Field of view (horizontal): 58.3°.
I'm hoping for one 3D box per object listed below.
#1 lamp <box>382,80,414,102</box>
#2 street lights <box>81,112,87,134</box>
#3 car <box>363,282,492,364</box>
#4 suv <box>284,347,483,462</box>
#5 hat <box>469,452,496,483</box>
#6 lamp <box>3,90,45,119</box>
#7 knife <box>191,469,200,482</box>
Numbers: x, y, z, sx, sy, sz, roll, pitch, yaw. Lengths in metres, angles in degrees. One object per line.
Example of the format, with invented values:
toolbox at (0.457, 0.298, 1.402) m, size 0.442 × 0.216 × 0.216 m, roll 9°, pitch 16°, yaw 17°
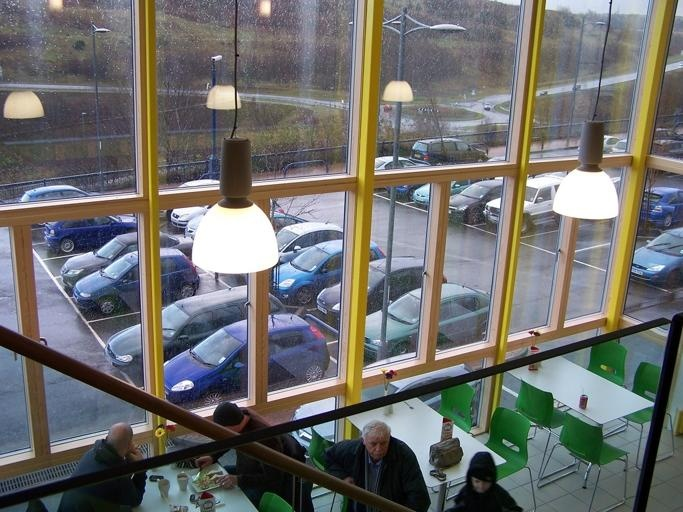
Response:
lamp at (0.656, -1.887, 6.941) m, size 0.259 × 0.145 × 0.263 m, roll 20°, pitch 32°, yaw 34°
street lights at (-2.400, -1.248, 5.723) m, size 0.063 × 0.170 × 0.014 m, roll -14°, pitch 17°, yaw -34°
car at (1.068, 0.798, 8.013) m, size 1.822 × 0.621 × 0.767 m, roll -11°, pitch 15°, yaw -27°
suv at (0.514, 1.228, 7.061) m, size 2.126 × 0.957 × 1.165 m, roll -2°, pitch 14°, yaw -11°
hat at (0.879, 1.317, 3.871) m, size 0.143 × 0.188 × 0.203 m, roll 7°, pitch -3°, yaw 5°
lamp at (-2.841, -1.336, 5.489) m, size 0.257 × 0.179 × 0.262 m, roll 5°, pitch 21°, yaw 9°
knife at (-0.667, 1.016, 2.815) m, size 0.018 × 0.066 × 0.066 m, roll 31°, pitch -5°, yaw -14°
